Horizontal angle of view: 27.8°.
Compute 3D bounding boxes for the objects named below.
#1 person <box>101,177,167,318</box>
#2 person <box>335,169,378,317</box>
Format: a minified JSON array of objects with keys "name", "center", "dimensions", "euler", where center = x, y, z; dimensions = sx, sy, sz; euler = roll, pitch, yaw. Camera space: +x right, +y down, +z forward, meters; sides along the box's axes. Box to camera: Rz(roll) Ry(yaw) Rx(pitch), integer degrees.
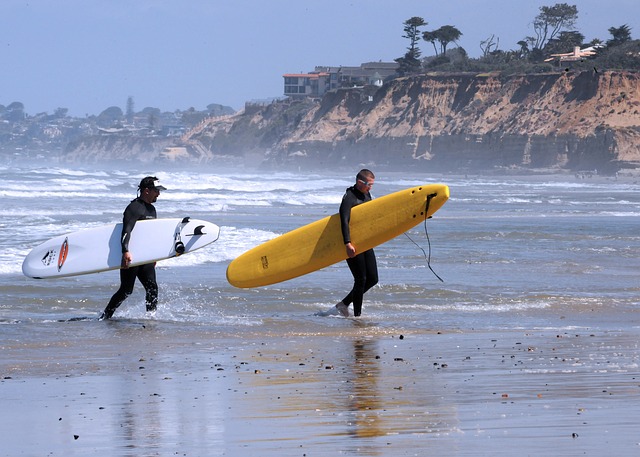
[{"name":"person","center":[-4.466,0.489,31.519],"dimensions":[1.305,3.513,0.903],"euler":[2,3,-13]},{"name":"person","center":[1.032,0.385,31.887],"dimensions":[1.135,3.644,0.925],"euler":[2,3,-19]}]
